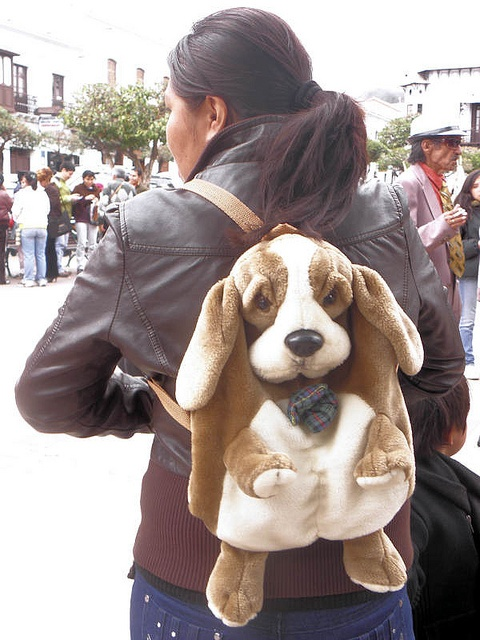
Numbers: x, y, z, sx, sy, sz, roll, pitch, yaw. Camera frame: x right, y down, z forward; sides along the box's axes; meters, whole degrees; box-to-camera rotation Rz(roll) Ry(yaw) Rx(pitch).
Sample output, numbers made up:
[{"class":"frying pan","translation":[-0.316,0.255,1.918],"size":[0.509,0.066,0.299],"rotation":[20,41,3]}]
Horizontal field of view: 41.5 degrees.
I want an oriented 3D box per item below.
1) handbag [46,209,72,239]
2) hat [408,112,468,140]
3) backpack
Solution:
[{"class":"handbag","translation":[-3.559,-1.892,12.484],"size":[0.386,0.519,0.546],"rotation":[-4,-25,-18]},{"class":"hat","translation":[1.572,-1.567,5.207],"size":[0.316,0.105,0.322],"rotation":[-9,6,-33]},{"class":"backpack","translation":[0.101,0.181,1.109],"size":[0.438,0.765,0.377],"rotation":[-4,14,-14]}]
